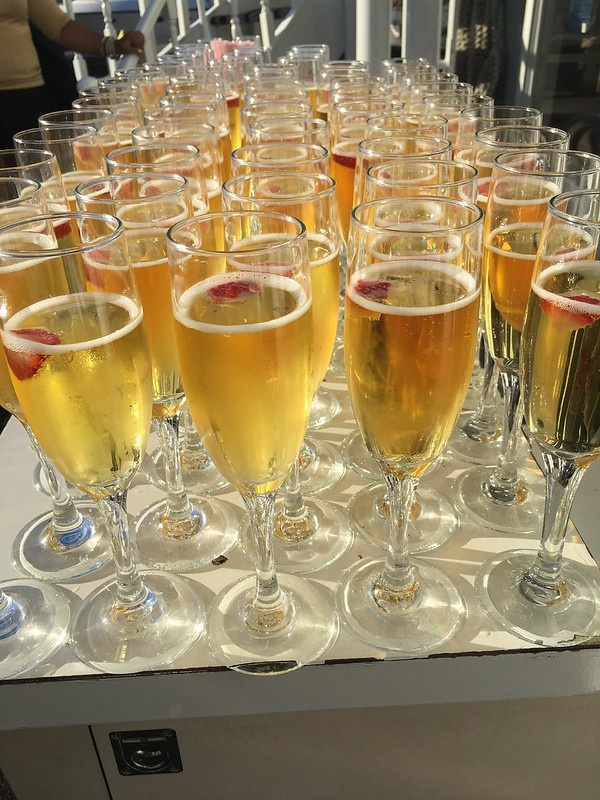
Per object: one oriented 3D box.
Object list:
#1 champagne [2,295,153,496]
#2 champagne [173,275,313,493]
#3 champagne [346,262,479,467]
[{"bbox_3d":[-0.168,0.008,0.508,0.104,0.187,0.074,-9,30,-13],"label":"champagne"},{"bbox_3d":[-0.035,-0.002,0.492,0.106,0.194,0.068,-8,30,-10],"label":"champagne"},{"bbox_3d":[0.085,-0.018,0.506,0.104,0.193,0.067,4,30,11],"label":"champagne"}]
